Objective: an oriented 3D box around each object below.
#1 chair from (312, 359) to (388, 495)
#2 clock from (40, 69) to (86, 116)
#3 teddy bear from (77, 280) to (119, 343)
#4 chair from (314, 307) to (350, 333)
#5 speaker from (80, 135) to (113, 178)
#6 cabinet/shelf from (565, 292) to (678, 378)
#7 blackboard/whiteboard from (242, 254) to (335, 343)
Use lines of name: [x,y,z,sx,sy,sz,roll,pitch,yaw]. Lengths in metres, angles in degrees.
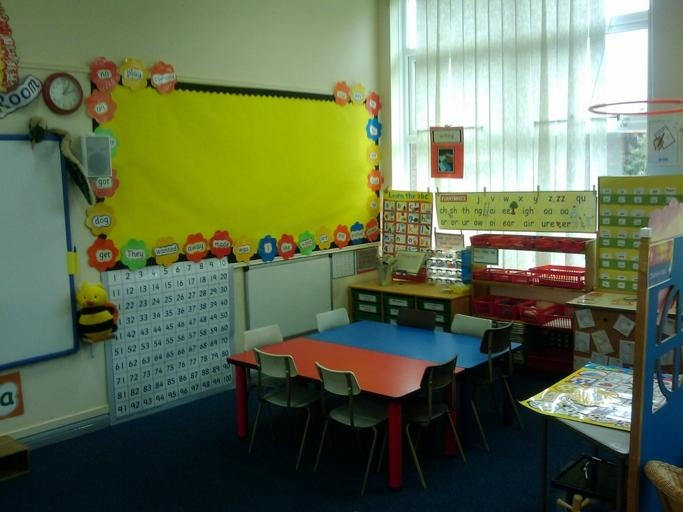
chair: [0.083,1.223,4.878,0.619,0.963,1.250,-1,13,4]
clock: [-2.515,-1.466,5.042,0.050,0.409,0.378,-3,7,40]
teddy bear: [-2.298,0.514,5.300,0.372,0.572,0.186,-8,13,-27]
chair: [-0.107,0.631,5.985,0.239,0.459,0.253,-5,0,-31]
speaker: [-2.260,-0.908,5.178,0.248,0.389,0.132,-8,13,-30]
cabinet/shelf: [2.582,0.741,5.588,0.592,0.677,0.630,6,14,30]
blackboard/whiteboard: [-0.652,0.474,6.421,0.114,0.703,0.883,2,7,43]
